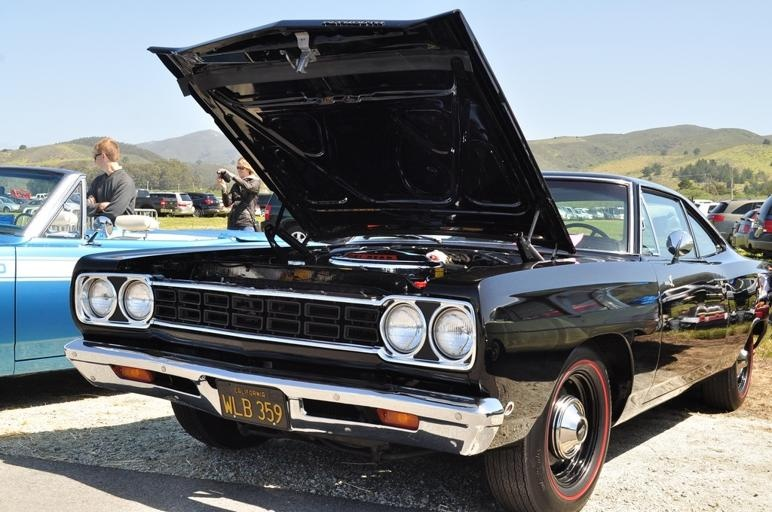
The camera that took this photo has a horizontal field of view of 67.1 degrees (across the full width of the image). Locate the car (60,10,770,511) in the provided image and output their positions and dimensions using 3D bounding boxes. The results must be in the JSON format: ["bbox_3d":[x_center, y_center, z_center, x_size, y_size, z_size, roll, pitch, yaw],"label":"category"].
[{"bbox_3d":[0.340,0.079,3.766,3.557,2.650,2.261,-2,8,-40],"label":"car"}]
